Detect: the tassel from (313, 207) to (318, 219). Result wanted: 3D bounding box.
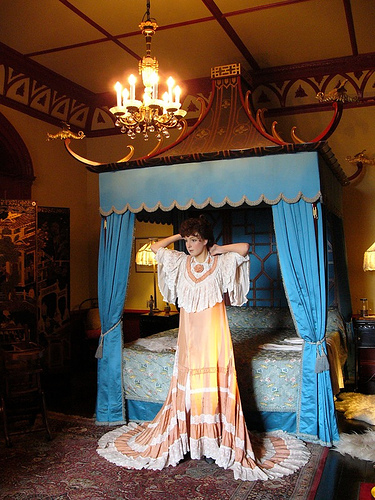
[{"bbox_3d":[0.982,-0.290,3.239,0.032,0.083,0.009,-3,-4,13],"label":"tassel"}]

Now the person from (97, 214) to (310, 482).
[{"bbox_3d":[0.100,0.624,3.076,1.427,1.717,0.638,-3,-4,16],"label":"person"}]

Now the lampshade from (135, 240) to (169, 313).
[{"bbox_3d":[-0.461,0.374,6.012,0.506,1.037,0.526,-4,-4,40],"label":"lampshade"}]

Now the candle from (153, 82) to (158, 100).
[{"bbox_3d":[-0.253,-1.253,3.303,0.034,0.187,0.131,-1,-4,-8],"label":"candle"}]

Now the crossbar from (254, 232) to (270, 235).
[{"bbox_3d":[0.978,-0.219,5.487,0.176,0.031,0.040,-1,-3,22],"label":"crossbar"}]

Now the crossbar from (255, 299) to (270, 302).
[{"bbox_3d":[0.987,0.647,5.472,0.181,0.024,0.041,1,8,27],"label":"crossbar"}]

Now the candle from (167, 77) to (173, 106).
[{"bbox_3d":[-0.127,-1.228,3.270,0.036,0.259,0.120,-2,-4,-1],"label":"candle"}]

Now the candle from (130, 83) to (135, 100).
[{"bbox_3d":[-0.430,-1.226,3.296,0.030,0.159,0.132,-1,-4,-11],"label":"candle"}]

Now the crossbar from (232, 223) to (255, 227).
[{"bbox_3d":[0.749,-0.341,5.588,0.323,0.046,0.032,2,0,25],"label":"crossbar"}]

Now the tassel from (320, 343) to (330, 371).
[{"bbox_3d":[1.028,0.806,3.174,0.061,0.198,0.077,-3,-4,19],"label":"tassel"}]
